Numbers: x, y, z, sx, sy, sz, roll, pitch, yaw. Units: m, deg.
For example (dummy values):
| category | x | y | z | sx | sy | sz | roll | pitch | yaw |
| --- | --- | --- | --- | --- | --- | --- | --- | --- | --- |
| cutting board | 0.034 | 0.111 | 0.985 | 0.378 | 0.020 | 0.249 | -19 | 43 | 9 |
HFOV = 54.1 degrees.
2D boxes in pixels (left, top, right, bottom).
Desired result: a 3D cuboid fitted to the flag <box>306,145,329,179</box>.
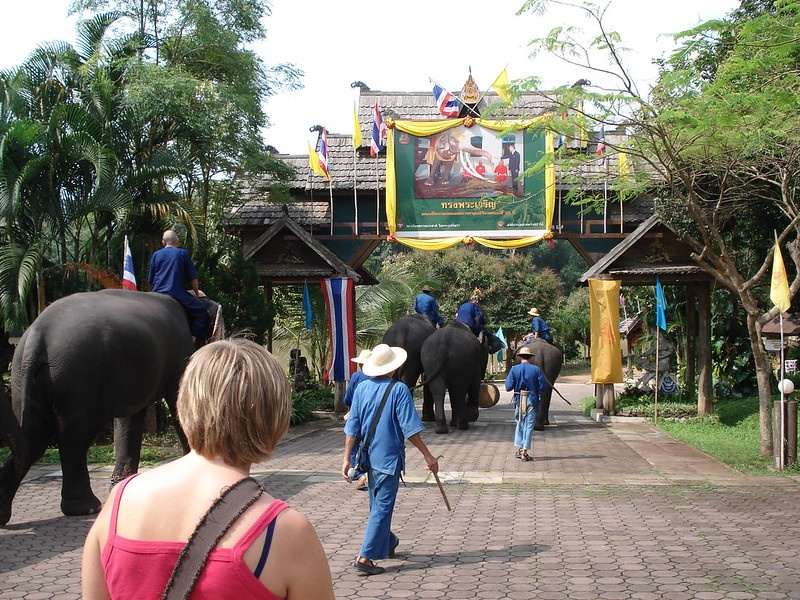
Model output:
| category | x | y | z | sx | sy | sz | roll | pitch | yaw |
| --- | --- | --- | --- | --- | --- | --- | --- | --- | --- |
| flag | -2.105 | -3.588 | 20.641 | 0.507 | 0.812 | 1.048 | 0 | -1 | -3 |

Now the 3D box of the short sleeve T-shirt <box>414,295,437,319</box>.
| category | x | y | z | sx | sy | sz | roll | pitch | yaw |
| --- | --- | --- | --- | --- | --- | --- | --- | --- | --- |
| short sleeve T-shirt | 0.618 | 0.198 | 18.975 | 0.619 | 0.820 | 0.514 | 1 | -10 | -7 |

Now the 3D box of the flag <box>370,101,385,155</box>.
| category | x | y | z | sx | sy | sz | roll | pitch | yaw |
| --- | --- | --- | --- | --- | --- | --- | --- | --- | --- |
| flag | -0.575 | -4.493 | 20.710 | 0.384 | 1.632 | 0.249 | 0 | -13 | -11 |

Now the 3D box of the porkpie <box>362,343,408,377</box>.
| category | x | y | z | sx | sy | sz | roll | pitch | yaw |
| --- | --- | --- | --- | --- | --- | --- | --- | --- | --- |
| porkpie | -0.110 | 0.629 | 8.058 | 0.335 | 0.108 | 0.367 | -17 | 28 | 38 |

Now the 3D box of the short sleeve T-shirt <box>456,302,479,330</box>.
| category | x | y | z | sx | sy | sz | roll | pitch | yaw |
| --- | --- | --- | --- | --- | --- | --- | --- | --- | --- |
| short sleeve T-shirt | 1.635 | 0.413 | 18.806 | 0.527 | 0.819 | 0.428 | 3 | -9 | -5 |

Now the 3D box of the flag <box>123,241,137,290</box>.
| category | x | y | z | sx | sy | sz | roll | pitch | yaw |
| --- | --- | --- | --- | --- | --- | --- | --- | --- | --- |
| flag | -3.999 | -0.548 | 11.609 | 0.143 | 0.842 | 1.578 | 0 | -1 | -19 |

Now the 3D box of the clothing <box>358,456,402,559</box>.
| category | x | y | z | sx | sy | sz | roll | pitch | yaw |
| --- | --- | --- | --- | --- | --- | --- | --- | --- | --- |
| clothing | -0.200 | 2.085 | 7.588 | 0.343 | 0.817 | 0.322 | 0 | -1 | 1 |

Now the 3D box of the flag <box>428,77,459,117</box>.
| category | x | y | z | sx | sy | sz | roll | pitch | yaw |
| --- | --- | --- | --- | --- | --- | --- | --- | --- | --- |
| flag | 1.188 | -5.190 | 20.236 | 0.782 | 0.825 | 1.229 | 0 | -1 | 3 |

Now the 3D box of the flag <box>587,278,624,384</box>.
| category | x | y | z | sx | sy | sz | roll | pitch | yaw |
| --- | --- | --- | --- | --- | --- | --- | --- | --- | --- |
| flag | 4.832 | 0.712 | 18.430 | 0.680 | 2.471 | 0.189 | -2 | -9 | 12 |

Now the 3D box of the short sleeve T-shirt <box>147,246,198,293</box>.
| category | x | y | z | sx | sy | sz | roll | pitch | yaw |
| --- | --- | --- | --- | --- | --- | --- | --- | --- | --- |
| short sleeve T-shirt | -3.067 | -0.354 | 10.534 | 0.612 | 0.703 | 0.389 | -1 | -16 | -14 |

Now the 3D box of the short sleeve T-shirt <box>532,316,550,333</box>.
| category | x | y | z | sx | sy | sz | roll | pitch | yaw |
| --- | --- | --- | --- | --- | --- | --- | --- | --- | --- |
| short sleeve T-shirt | 4.201 | 0.742 | 23.544 | 0.432 | 0.663 | 0.867 | -5 | 2 | 25 |
